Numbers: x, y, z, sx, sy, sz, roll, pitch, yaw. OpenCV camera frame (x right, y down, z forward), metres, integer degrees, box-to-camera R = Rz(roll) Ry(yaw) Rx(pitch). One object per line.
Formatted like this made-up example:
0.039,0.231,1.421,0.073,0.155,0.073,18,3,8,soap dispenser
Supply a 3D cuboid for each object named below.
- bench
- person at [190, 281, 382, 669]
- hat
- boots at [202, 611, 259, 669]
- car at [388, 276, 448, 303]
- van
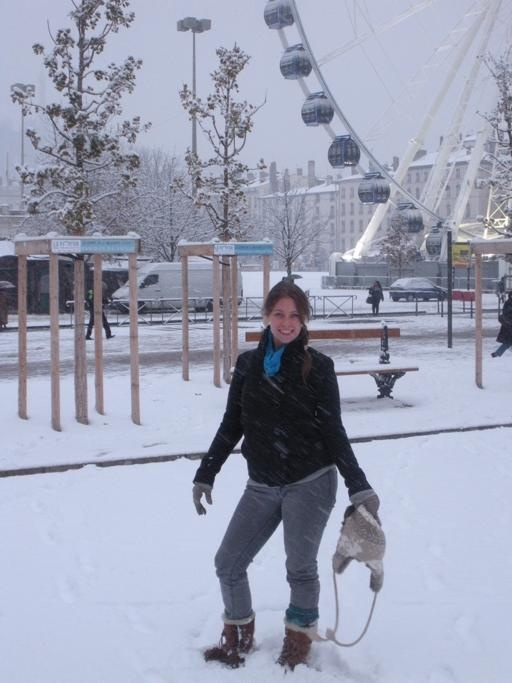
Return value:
1.017,0.300,11.136,1.470,0.891,0.624,-4,9,-11,bench
0.121,0.599,4.213,0.818,1.703,0.362,2,6,8,person
0.449,0.850,4.124,0.246,0.386,0.090,-3,-1,43,hat
-0.101,1.343,4.285,0.115,0.256,0.336,-8,-14,41,boots
7.291,-1.937,43.464,2.375,1.284,1.641,-4,8,-9,car
-2.738,-1.857,32.816,4.428,2.077,1.927,-1,1,-26,van
